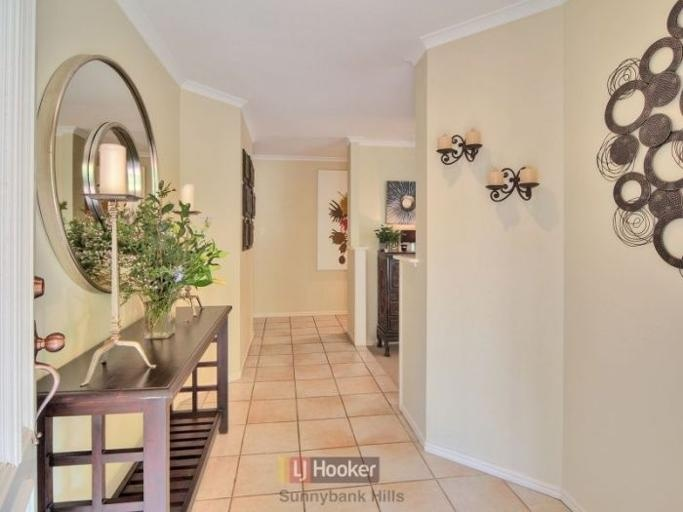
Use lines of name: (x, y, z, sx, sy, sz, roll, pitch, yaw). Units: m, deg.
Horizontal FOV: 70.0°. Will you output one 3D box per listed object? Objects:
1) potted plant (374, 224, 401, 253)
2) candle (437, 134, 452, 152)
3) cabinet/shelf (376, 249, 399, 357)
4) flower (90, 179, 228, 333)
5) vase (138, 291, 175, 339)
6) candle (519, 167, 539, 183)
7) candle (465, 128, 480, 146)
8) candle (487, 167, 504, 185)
potted plant: (0.559, -0.205, 5.898, 0.334, 0.382, 0.286, 0, -5, -4)
candle: (0.656, -0.717, 3.101, 0.093, 0.113, 0.097, 0, -4, -1)
cabinet/shelf: (0.530, 0.522, 5.584, 0.240, 1.134, 0.621, -1, 8, 3)
flower: (-1.009, -0.021, 2.846, 0.766, 1.151, 0.762, 0, -1, -14)
vase: (-0.966, 0.321, 2.668, 0.191, 0.281, 0.200, -1, 1, -4)
candle: (1.126, -0.471, 2.909, 0.101, 0.103, 0.102, 0, 5, -26)
candle: (0.816, -0.739, 3.073, 0.096, 0.114, 0.099, -1, -7, 9)
candle: (0.952, -0.486, 3.039, 0.099, 0.113, 0.105, -1, -6, 9)
